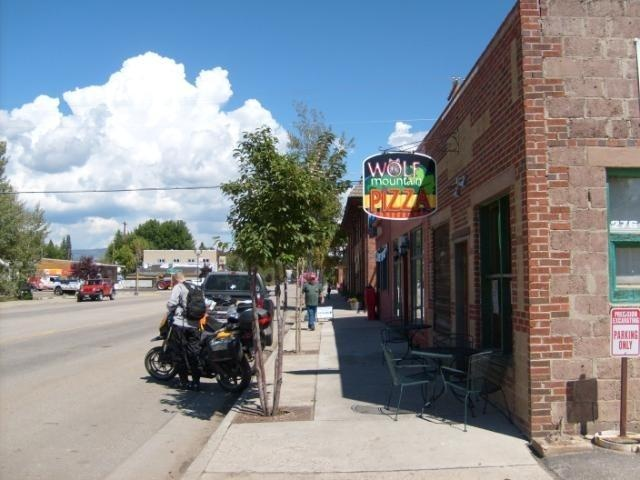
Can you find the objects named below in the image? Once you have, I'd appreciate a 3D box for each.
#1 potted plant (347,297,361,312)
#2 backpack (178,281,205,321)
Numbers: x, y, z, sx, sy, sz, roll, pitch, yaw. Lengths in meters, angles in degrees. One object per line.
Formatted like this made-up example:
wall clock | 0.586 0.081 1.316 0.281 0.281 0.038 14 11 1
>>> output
potted plant | 1.731 3.230 31.305 0.515 0.564 0.490 0 -1 -44
backpack | -2.300 1.184 11.837 0.350 0.718 0.439 -10 -13 34
